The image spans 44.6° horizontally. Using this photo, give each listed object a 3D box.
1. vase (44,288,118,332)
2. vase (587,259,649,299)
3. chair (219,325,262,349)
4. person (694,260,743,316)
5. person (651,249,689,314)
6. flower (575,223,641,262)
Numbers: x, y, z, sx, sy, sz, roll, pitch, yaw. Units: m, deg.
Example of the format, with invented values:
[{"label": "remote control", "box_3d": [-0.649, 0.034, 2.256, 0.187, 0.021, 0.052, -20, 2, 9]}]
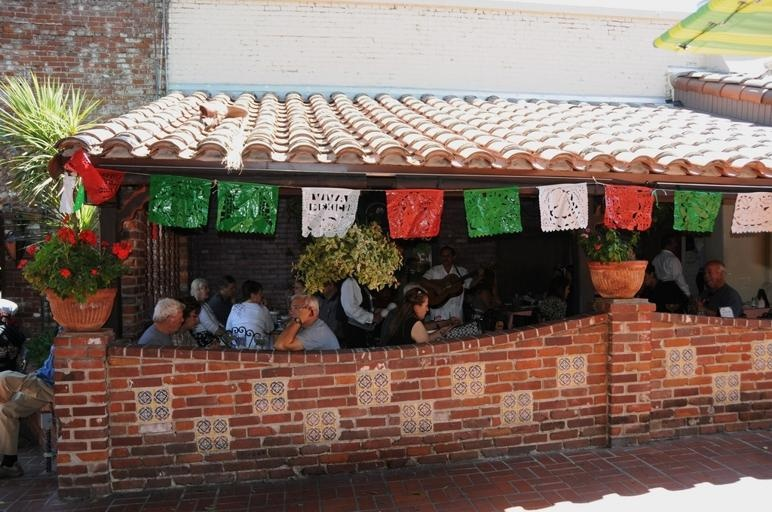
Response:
[{"label": "vase", "box_3d": [-4.325, 0.751, 13.270, 0.770, 0.413, 0.720, 2, 2, 4]}, {"label": "vase", "box_3d": [3.594, 0.371, 14.534, 0.990, 0.533, 0.933, 1, -3, -9]}, {"label": "chair", "box_3d": [-2.219, 1.239, 14.377, 0.693, 0.336, 0.245, 2, 8, 23]}, {"label": "person", "box_3d": [5.893, 0.574, 16.522, 0.577, 0.742, 0.912, 4, -9, -5]}, {"label": "person", "box_3d": [4.930, 0.432, 16.293, 0.667, 1.041, 0.457, 2, 8, 30]}, {"label": "flower", "box_3d": [3.360, -0.105, 14.410, 0.821, 0.401, 0.643, 3, -6, -1]}]
